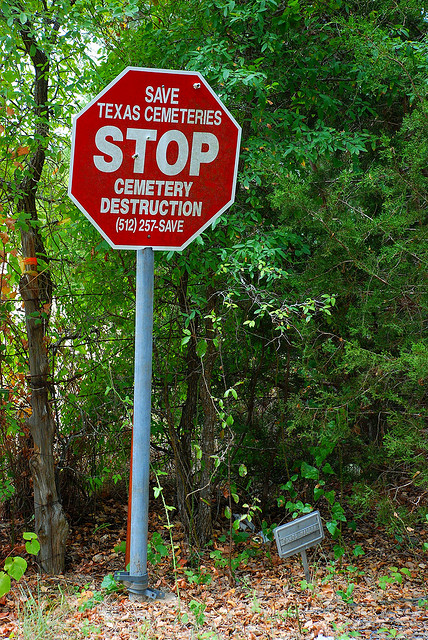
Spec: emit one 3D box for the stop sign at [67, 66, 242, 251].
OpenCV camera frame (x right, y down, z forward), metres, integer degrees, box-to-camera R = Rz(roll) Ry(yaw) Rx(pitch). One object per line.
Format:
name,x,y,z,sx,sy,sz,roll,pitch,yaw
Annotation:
stop sign,-0.252,-0.676,3.018,0.732,0.732,0.231,0,-7,-10

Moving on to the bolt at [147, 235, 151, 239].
bolt,-0.284,-0.356,3.039,0.011,0.012,0.007,13,-27,6
